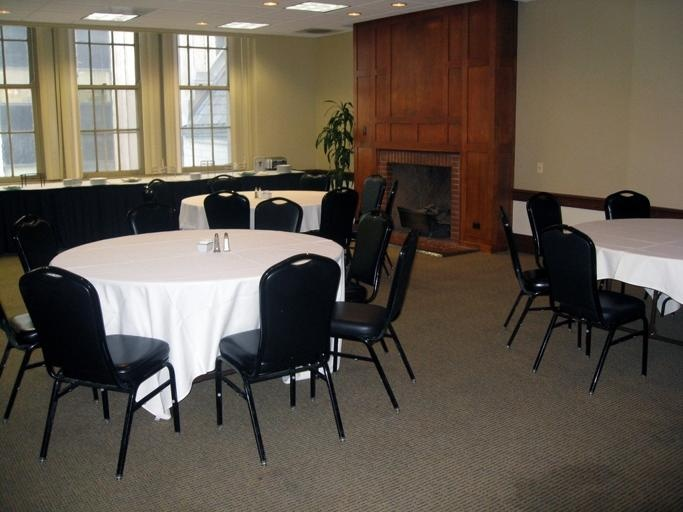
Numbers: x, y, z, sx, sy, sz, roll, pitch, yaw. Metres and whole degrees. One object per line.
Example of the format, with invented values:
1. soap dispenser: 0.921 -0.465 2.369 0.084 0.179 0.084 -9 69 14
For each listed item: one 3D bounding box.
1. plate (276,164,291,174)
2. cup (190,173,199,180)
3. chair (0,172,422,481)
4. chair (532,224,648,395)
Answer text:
1. plate: -1.011 -1.507 8.814 0.179 0.115 0.179 -5 9 -29
2. cup: -2.365 -1.267 8.106 0.106 0.079 0.120 -1 0 32
3. chair: -0.787 0.346 3.194 2.137 1.060 2.127 10 18 36
4. chair: 1.683 0.293 3.417 0.636 1.074 0.627 -4 10 -6
